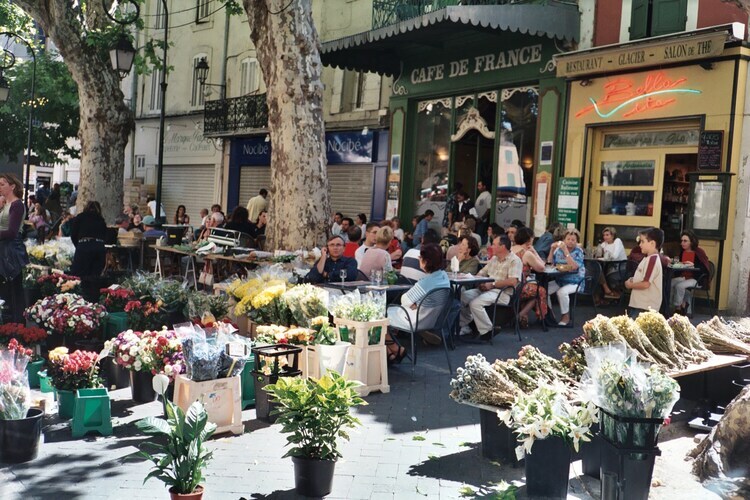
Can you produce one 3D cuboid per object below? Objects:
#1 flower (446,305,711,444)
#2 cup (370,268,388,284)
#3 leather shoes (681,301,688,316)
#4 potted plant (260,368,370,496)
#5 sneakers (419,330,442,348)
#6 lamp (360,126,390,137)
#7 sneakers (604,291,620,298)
[{"bbox_3d":[2.044,1.340,6.648,1.360,0.755,2.086,8,17,18],"label":"flower"},{"bbox_3d":[0.051,0.400,9.502,0.224,0.219,0.180,1,3,15],"label":"cup"},{"bbox_3d":[5.793,1.099,11.913,0.103,0.284,0.092,1,-11,10],"label":"leather shoes"},{"bbox_3d":[-0.519,1.651,5.794,0.787,1.070,0.302,-1,2,-9],"label":"potted plant"},{"bbox_3d":[0.815,1.274,9.243,0.250,0.245,0.438,2,-6,-13],"label":"sneakers"},{"bbox_3d":[-0.010,-3.509,18.837,0.981,0.292,0.126,1,2,37],"label":"lamp"},{"bbox_3d":[4.911,0.917,13.143,0.314,0.135,0.116,1,5,36],"label":"sneakers"}]
